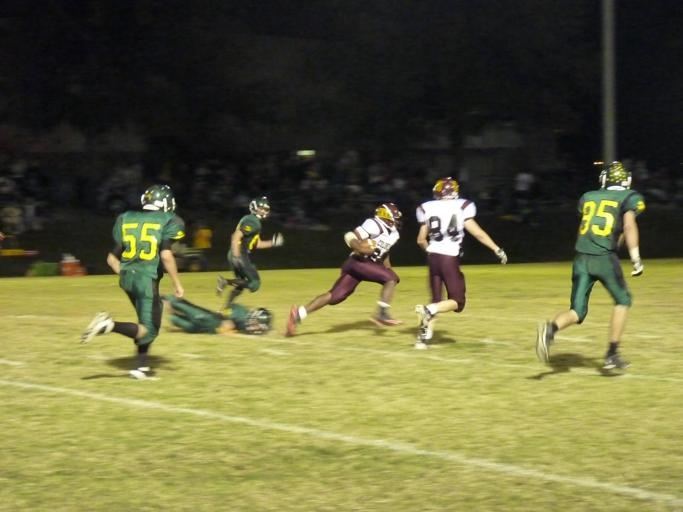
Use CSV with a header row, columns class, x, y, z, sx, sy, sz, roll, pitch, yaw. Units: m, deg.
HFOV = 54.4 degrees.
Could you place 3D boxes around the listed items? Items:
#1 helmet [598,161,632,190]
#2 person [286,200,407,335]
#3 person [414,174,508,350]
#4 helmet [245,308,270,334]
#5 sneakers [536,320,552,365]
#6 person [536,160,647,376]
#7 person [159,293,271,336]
class,x,y,z,sx,sy,sz,roll,pitch,yaw
helmet,3.031,-0.860,7.102,0.383,0.264,0.355,2,22,1
person,0.096,0.204,9.086,1.446,1.805,0.725,1,2,-8
person,1.343,0.101,8.086,0.852,2.114,0.583,2,2,3
helmet,-1.123,0.928,9.479,0.390,0.344,0.201,-1,3,-43
sneakers,1.985,0.831,6.447,0.146,0.394,0.275,2,2,17
person,2.596,0.111,6.732,0.782,2.186,1.008,2,2,23
person,-1.779,0.851,9.617,1.791,0.333,0.696,5,-6,-2
